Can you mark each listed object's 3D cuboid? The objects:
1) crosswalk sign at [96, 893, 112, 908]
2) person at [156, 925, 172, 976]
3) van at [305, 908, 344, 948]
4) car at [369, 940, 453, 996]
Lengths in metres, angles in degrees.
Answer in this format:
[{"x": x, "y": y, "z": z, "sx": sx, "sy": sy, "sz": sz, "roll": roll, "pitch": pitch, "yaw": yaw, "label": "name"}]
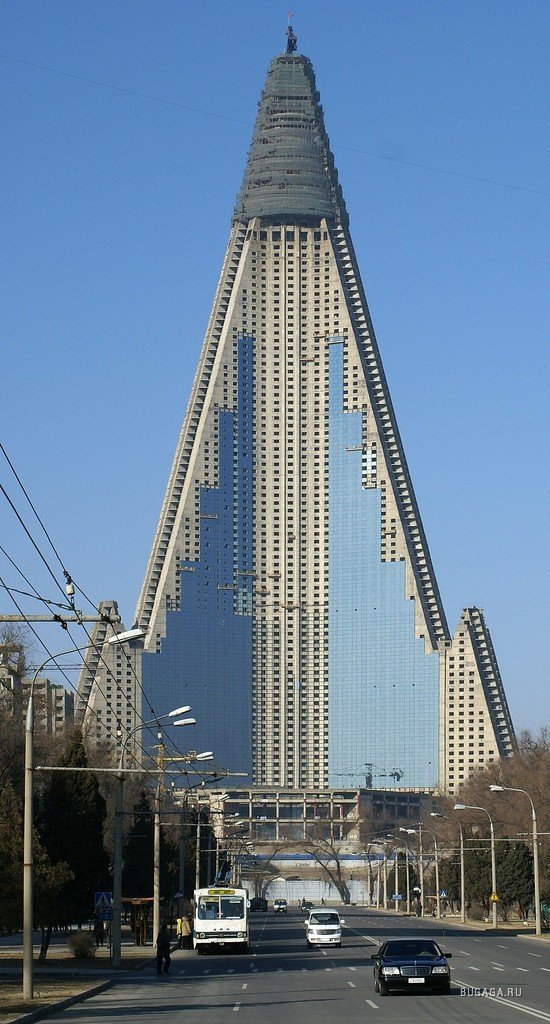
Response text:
[{"x": -6.053, "y": 13.906, "z": 78.798, "sx": 0.444, "sy": 0.680, "sz": 0.403, "roll": 1, "pitch": -3, "yaw": 3, "label": "crosswalk sign"}, {"x": -3.679, "y": 14.730, "z": 73.679, "sx": 0.380, "sy": 1.696, "sz": 1.104, "roll": 1, "pitch": -16, "yaw": -6, "label": "person"}, {"x": 2.052, "y": 17.145, "z": 90.316, "sx": 0.815, "sy": 1.150, "sz": 1.897, "roll": 0, "pitch": -21, "yaw": -1, "label": "van"}, {"x": 4.075, "y": 13.539, "z": 65.135, "sx": 2.073, "sy": 1.779, "sz": 1.368, "roll": 1, "pitch": -17, "yaw": -5, "label": "car"}]
